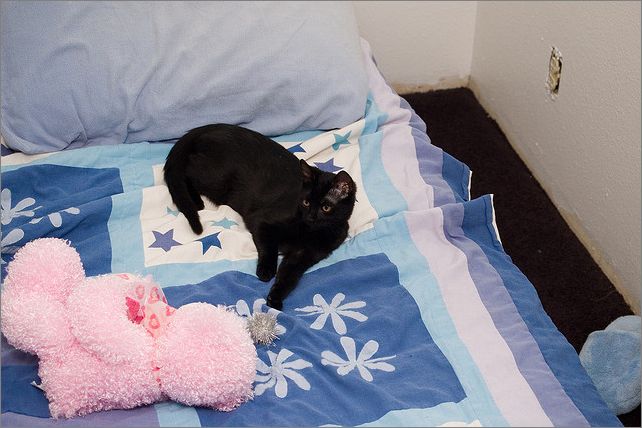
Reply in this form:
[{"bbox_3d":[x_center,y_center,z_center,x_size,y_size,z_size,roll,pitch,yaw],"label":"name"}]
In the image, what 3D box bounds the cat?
[{"bbox_3d":[-0.253,-0.026,2.118,0.527,0.379,0.706,-6,52,-29],"label":"cat"}]
